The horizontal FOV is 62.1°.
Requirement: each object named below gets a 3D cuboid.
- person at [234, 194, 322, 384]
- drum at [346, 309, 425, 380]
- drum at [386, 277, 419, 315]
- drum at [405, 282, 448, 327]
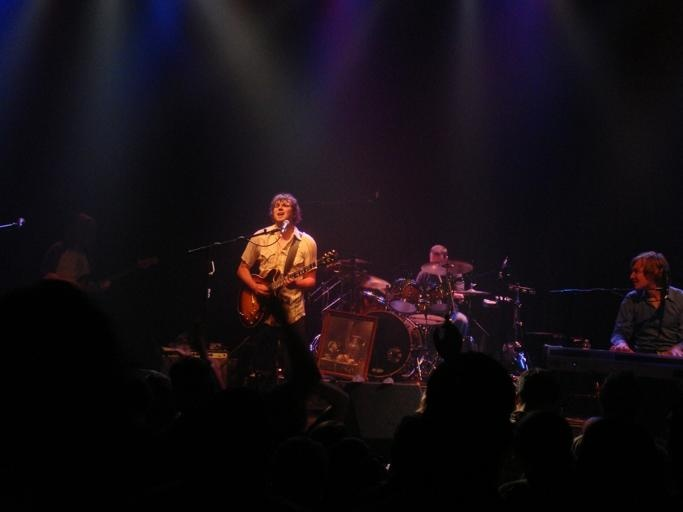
[{"bbox_3d":[-0.839,0.502,7.290,0.892,2.419,0.261,6,-19,-8],"label":"person"},{"bbox_3d":[0.661,1.181,7.779,0.777,0.881,0.517,6,-1,32],"label":"drum"},{"bbox_3d":[0.873,0.613,8.054,0.441,0.435,0.451,-21,-54,43],"label":"drum"},{"bbox_3d":[1.224,0.735,8.143,0.580,0.649,0.640,0,-9,8],"label":"drum"}]
